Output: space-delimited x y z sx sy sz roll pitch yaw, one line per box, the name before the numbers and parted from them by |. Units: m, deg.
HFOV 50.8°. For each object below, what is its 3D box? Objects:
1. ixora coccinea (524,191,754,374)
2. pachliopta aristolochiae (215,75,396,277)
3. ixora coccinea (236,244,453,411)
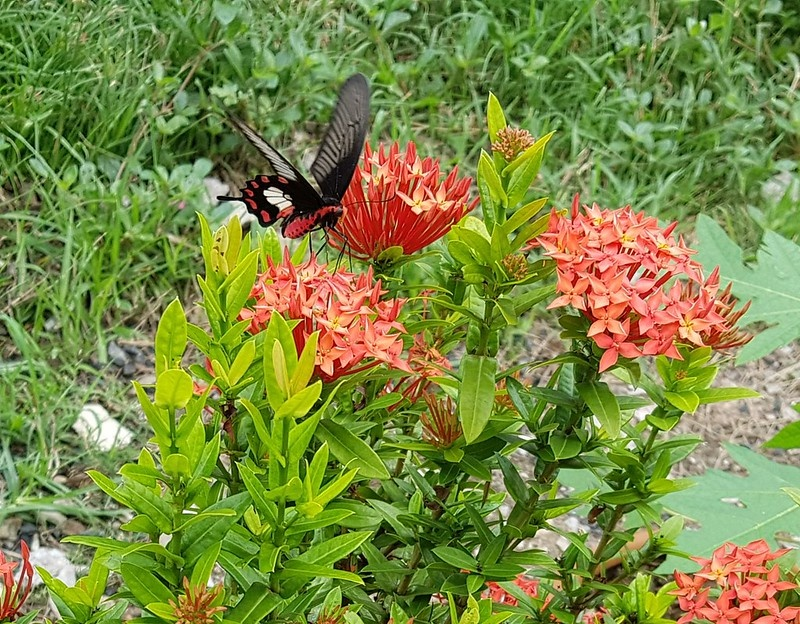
ixora coccinea | 0.656 -0.057 2.227 0.636 0.274 0.446 3 54 -18
pachliopta aristolochiae | -0.345 -0.466 2.743 0.499 0.546 0.595 -4 14 -11
ixora coccinea | -0.184 0.009 2.173 0.504 0.279 0.355 38 52 10
